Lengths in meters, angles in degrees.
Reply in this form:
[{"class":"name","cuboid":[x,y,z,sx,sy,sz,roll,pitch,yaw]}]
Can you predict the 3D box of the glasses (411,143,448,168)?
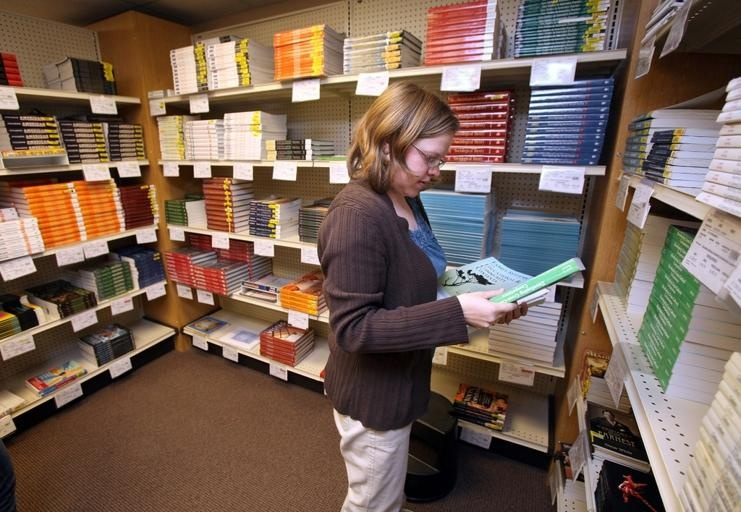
[{"class":"glasses","cuboid":[0.258,-0.430,2.091,0.107,0.031,0.107,41,27,8]}]
